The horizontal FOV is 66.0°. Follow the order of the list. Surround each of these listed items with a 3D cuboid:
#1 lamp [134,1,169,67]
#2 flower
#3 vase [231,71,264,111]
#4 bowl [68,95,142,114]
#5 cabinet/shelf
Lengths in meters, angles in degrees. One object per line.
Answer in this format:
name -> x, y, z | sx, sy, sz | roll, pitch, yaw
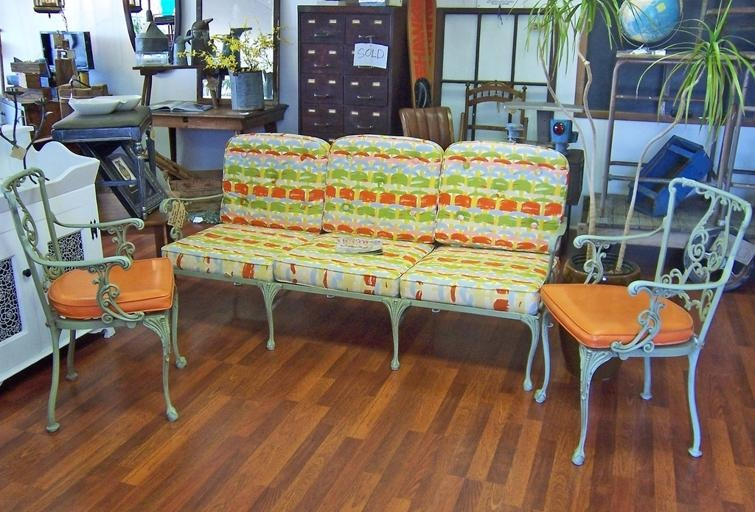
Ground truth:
lamp -> -2.322, -2.308, 5.991 | 0.348, 0.639, 0.363 | 1, 22, 4
flower -> -1.540, -2.162, 5.808 | 0.638, 0.299, 0.332 | -10, 13, -18
vase -> -1.289, -1.636, 5.728 | 0.339, 0.362, 0.333 | 9, 26, 18
bowl -> -1.789, -1.005, 3.858 | 0.270, 0.095, 0.499 | 2, 20, 7
cabinet/shelf -> -0.282, -1.703, 5.436 | 0.925, 1.195, 0.253 | 7, 24, 19
